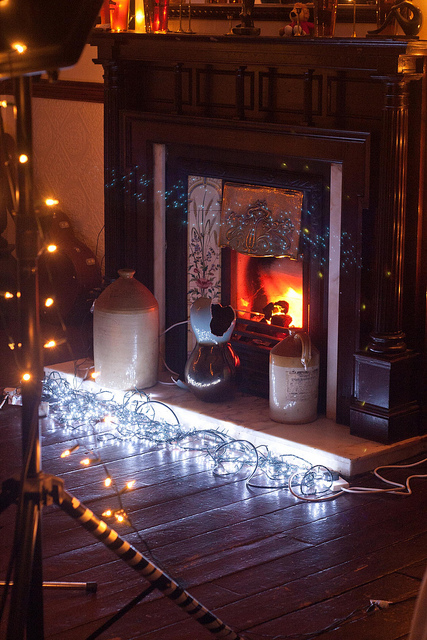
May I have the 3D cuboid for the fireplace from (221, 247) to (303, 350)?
[{"bbox_3d":[0.230,-0.104,2.801,0.460,0.446,0.241,3,4,43],"label":"fireplace"}]

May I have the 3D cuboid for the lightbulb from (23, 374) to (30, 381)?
[{"bbox_3d":[-0.255,0.077,0.830,0.006,0.006,0.007,25,-10,18],"label":"lightbulb"}]

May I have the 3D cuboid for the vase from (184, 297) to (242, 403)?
[{"bbox_3d":[0.027,0.127,2.806,0.217,0.477,0.287,9,13,42],"label":"vase"}]
